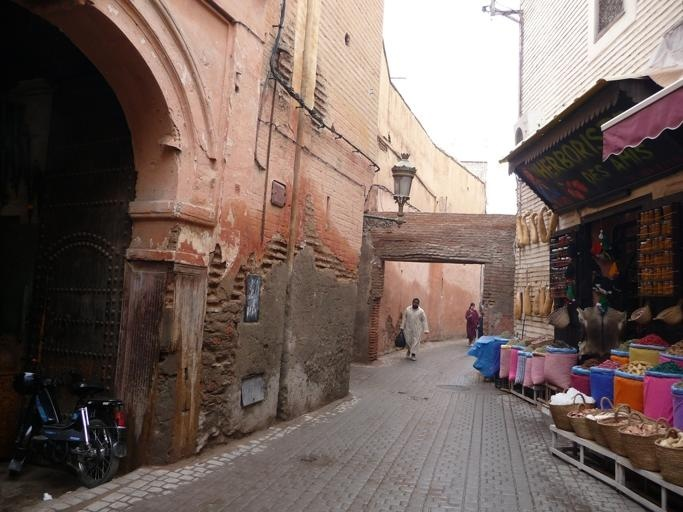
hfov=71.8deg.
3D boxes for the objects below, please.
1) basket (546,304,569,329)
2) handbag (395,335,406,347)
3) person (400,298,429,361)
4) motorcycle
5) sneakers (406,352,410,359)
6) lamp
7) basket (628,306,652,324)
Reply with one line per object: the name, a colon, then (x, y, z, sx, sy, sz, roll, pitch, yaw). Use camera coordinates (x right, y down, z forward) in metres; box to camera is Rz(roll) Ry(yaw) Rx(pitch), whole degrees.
basket: (4.660, 1.310, 10.180, 0.427, 0.483, 0.470, -8, -12, 26)
handbag: (2.096, 3.051, 16.850, 0.364, 0.705, 0.363, 0, -9, 5)
person: (2.593, 2.544, 16.848, 0.954, 2.253, 0.559, 7, 18, 17)
motorcycle: (-3.008, 1.822, 5.259, 1.524, 1.199, 0.817, 9, -13, 28)
sneakers: (2.309, 3.497, 16.533, 0.125, 0.208, 0.329, -3, -11, 7)
lamp: (1.186, -1.553, 11.565, 1.141, 1.993, 0.687, 6, 4, -2)
basket: (4.831, 0.962, 7.664, 0.235, 0.217, 0.308, -34, -1, 16)
